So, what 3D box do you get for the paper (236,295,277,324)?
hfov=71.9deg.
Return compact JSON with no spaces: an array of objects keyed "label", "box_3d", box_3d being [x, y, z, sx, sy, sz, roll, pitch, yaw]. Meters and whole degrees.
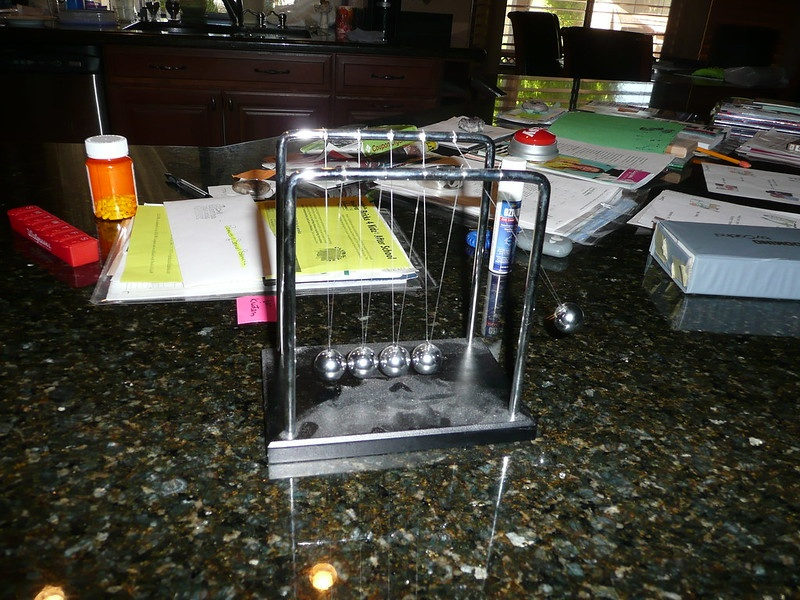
[{"label":"paper","box_3d":[-0.183,0.011,0.699,0.047,0.009,0.040,-2,41,-18]}]
